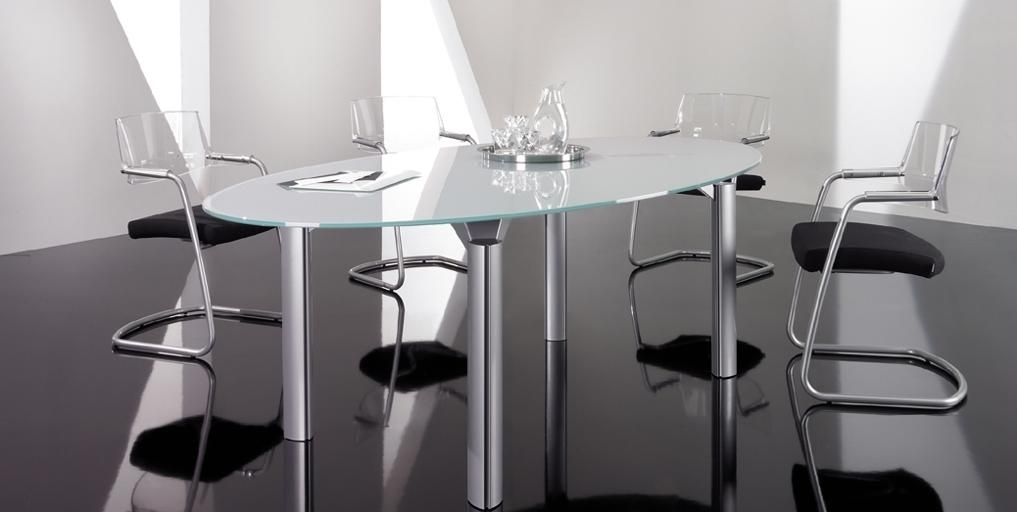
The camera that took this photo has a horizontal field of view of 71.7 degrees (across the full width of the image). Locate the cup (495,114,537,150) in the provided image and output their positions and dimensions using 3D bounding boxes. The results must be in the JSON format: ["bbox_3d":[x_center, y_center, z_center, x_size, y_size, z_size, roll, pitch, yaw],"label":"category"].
[{"bbox_3d":[0.040,-0.791,4.513,0.244,0.171,0.252,0,7,0],"label":"cup"}]
